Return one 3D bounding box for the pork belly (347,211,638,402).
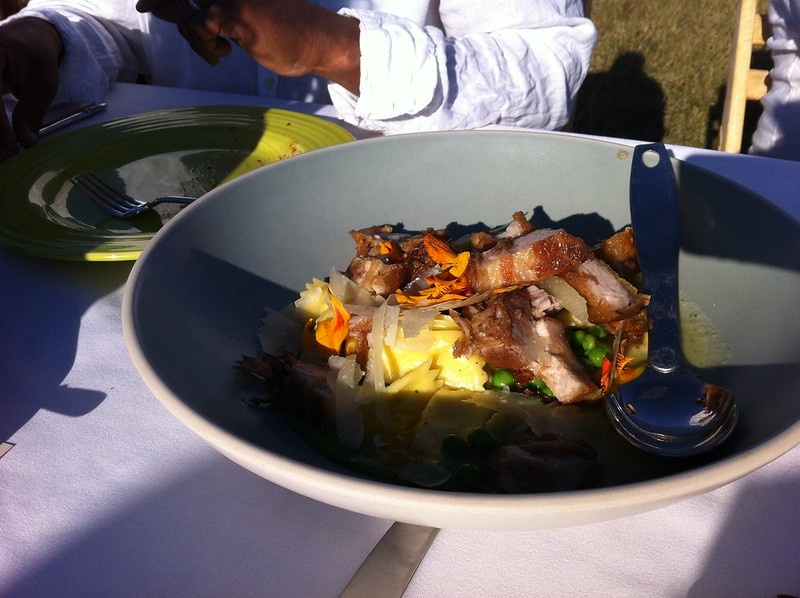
[{"bbox_3d":[0.268,-0.006,2.006,0.694,0.218,0.493,17,87,7],"label":"pork belly"}]
